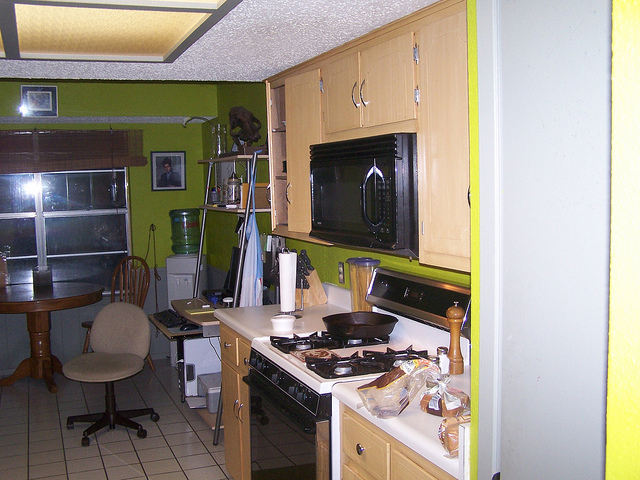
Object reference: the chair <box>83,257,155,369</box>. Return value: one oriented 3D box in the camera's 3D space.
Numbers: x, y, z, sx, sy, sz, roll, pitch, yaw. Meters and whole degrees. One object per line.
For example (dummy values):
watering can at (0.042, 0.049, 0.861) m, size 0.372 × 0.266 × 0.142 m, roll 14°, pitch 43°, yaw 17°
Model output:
chair at (-2.195, 0.858, 5.491) m, size 0.697 × 1.268 × 0.683 m, roll -8°, pitch 16°, yaw -41°

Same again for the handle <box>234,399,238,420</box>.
handle at (-0.494, 0.990, 3.017) m, size 0.007 × 0.114 × 0.054 m, roll -3°, pitch 5°, yaw -27°

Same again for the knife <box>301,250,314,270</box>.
knife at (-0.085, 0.134, 3.311) m, size 0.040 × 0.153 × 0.020 m, roll -28°, pitch 25°, yaw -31°

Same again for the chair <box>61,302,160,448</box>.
chair at (-1.703, 1.050, 4.126) m, size 0.649 × 0.996 × 0.684 m, roll 1°, pitch 2°, yaw 15°

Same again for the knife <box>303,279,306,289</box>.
knife at (-0.105, 0.291, 3.358) m, size 0.019 × 0.060 × 0.019 m, roll -2°, pitch 4°, yaw -13°

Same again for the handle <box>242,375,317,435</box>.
handle at (-0.213, 0.761, 2.411) m, size 0.049 × 0.070 × 0.793 m, roll -3°, pitch 5°, yaw -27°

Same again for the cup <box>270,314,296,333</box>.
cup at (-0.196, 0.455, 2.792) m, size 0.087 × 0.045 × 0.093 m, roll -1°, pitch -2°, yaw 0°

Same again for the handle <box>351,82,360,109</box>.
handle at (0.168, -0.700, 2.508) m, size 0.014 × 0.119 × 0.070 m, roll -2°, pitch 4°, yaw -16°

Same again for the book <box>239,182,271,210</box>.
book at (-0.496, -0.337, 3.890) m, size 0.223 × 0.173 × 0.223 m, roll 0°, pitch 7°, yaw -2°

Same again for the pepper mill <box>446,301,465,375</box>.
pepper mill at (0.585, 0.423, 2.222) m, size 0.070 × 0.290 × 0.167 m, roll 0°, pitch 4°, yaw 16°

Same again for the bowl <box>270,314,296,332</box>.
bowl at (-0.198, 0.461, 2.837) m, size 0.121 × 0.077 × 0.144 m, roll 1°, pitch 5°, yaw 22°

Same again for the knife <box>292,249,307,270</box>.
knife at (-0.132, 0.147, 3.298) m, size 0.045 × 0.189 × 0.045 m, roll -27°, pitch 6°, yaw -10°

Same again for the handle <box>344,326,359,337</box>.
handle at (0.145, 0.454, 2.535) m, size 0.048 × 0.037 × 0.049 m, roll 2°, pitch 3°, yaw 5°

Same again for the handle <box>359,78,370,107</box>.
handle at (0.204, -0.694, 2.442) m, size 0.010 × 0.131 × 0.074 m, roll -2°, pitch 4°, yaw -19°

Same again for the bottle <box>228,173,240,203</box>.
bottle at (-0.709, -0.422, 4.215) m, size 0.069 × 0.240 × 0.157 m, roll -3°, pitch 5°, yaw -27°

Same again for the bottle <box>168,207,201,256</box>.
bottle at (-1.571, -0.087, 5.981) m, size 0.330 × 0.531 × 0.369 m, roll -2°, pitch 4°, yaw -16°

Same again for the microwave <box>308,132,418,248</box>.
microwave at (0.251, -0.235, 2.577) m, size 0.381 × 0.516 × 0.729 m, roll -9°, pitch 10°, yaw -32°

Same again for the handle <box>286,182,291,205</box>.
handle at (-0.200, -0.288, 3.221) m, size 0.012 × 0.129 × 0.057 m, roll -2°, pitch 4°, yaw -18°

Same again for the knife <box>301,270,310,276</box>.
knife at (-0.099, 0.212, 3.305) m, size 0.047 × 0.031 × 0.019 m, roll -3°, pitch 5°, yaw -26°
